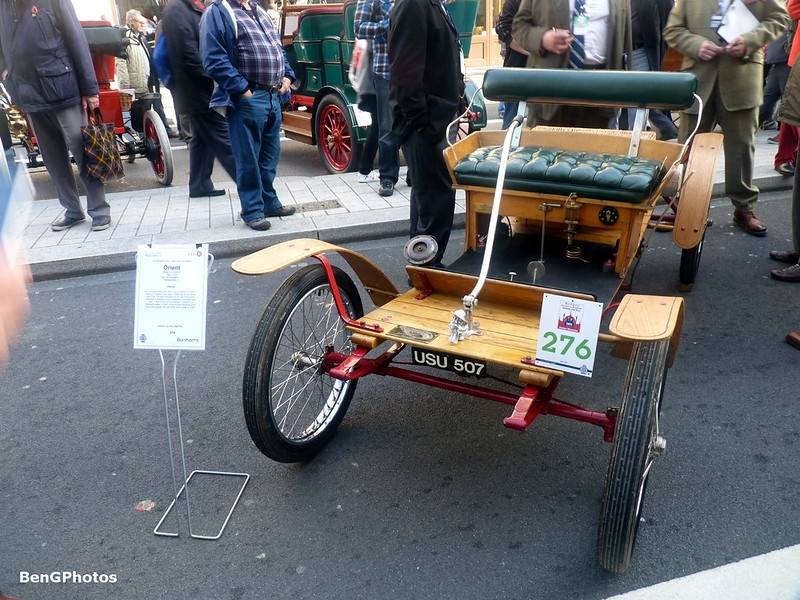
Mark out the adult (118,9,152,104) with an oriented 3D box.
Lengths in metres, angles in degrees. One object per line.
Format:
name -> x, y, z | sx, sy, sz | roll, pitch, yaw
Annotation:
adult -> -4.581, -4.253, 10.473 | 0.474, 1.400, 0.667 | 22, 36, 9

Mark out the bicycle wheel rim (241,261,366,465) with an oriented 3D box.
bicycle wheel rim -> -0.541, 0.397, 3.493 | 0.275, 0.853, 0.868 | 10, 33, 25

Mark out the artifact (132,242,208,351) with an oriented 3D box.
artifact -> -1.106, 0.001, 2.953 | 0.373, 0.542, 0.240 | 4, 29, 11

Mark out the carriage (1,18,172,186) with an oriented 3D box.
carriage -> -4.549, -2.654, 8.333 | 2.861, 1.990, 1.810 | 22, 31, 37

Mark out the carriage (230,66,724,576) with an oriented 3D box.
carriage -> 0.829, -0.262, 4.043 | 2.017, 1.742, 3.580 | 9, 33, 25

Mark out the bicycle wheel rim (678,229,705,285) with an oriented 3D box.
bicycle wheel rim -> 2.215, -0.329, 4.616 | 0.099, 0.390, 0.330 | 16, 21, 17

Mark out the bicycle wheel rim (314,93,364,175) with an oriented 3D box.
bicycle wheel rim -> -0.772, -2.196, 7.879 | 0.407, 0.948, 0.854 | -16, 34, -29
